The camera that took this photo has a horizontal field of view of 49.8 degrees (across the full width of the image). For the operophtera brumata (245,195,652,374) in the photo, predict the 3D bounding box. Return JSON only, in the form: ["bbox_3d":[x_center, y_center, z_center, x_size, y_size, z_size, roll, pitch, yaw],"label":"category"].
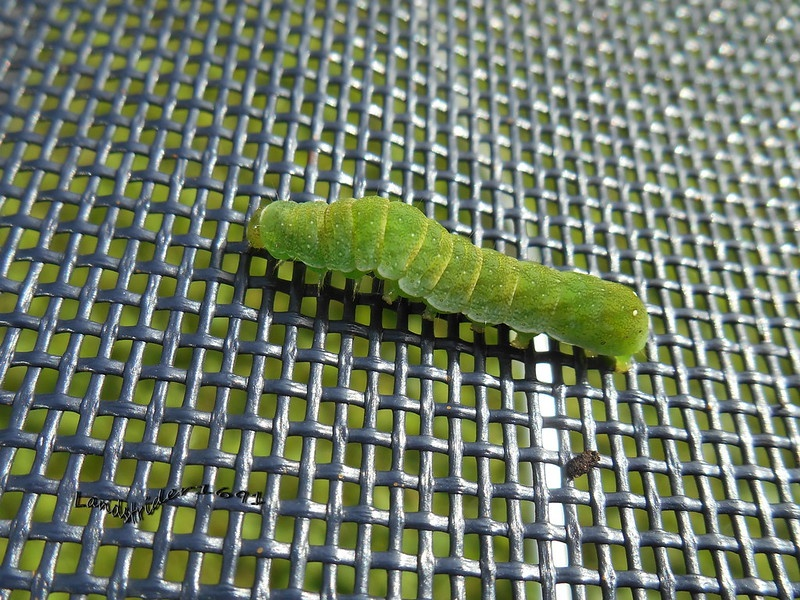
[{"bbox_3d":[0.063,-0.016,1.589,0.618,0.126,0.150,20,94,-9],"label":"operophtera brumata"}]
